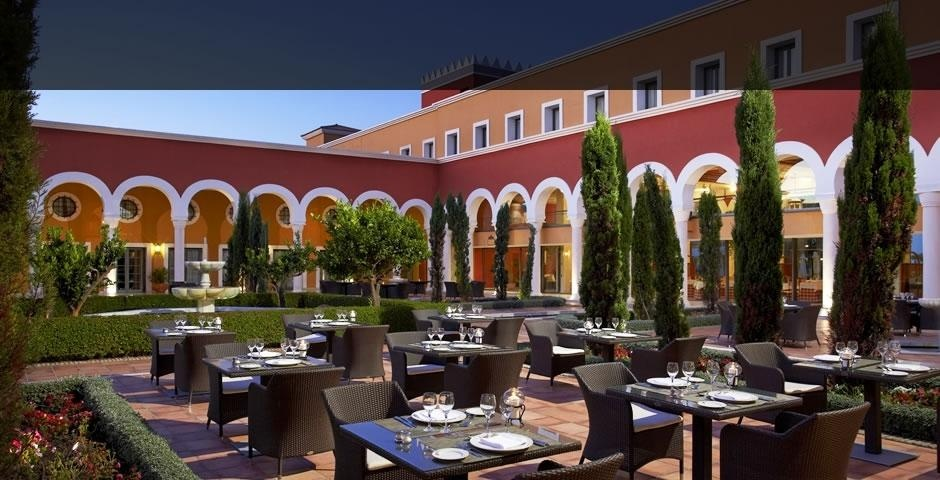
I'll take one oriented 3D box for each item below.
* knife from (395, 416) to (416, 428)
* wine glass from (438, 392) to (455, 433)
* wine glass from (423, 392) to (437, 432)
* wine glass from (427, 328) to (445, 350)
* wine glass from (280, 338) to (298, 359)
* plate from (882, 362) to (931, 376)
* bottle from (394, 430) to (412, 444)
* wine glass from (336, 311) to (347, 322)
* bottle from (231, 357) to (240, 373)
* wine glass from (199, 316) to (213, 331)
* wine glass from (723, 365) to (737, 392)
[{"bbox_3d":[-1.071,3.066,11.055,0.135,0.057,0.512,1,1,-29],"label":"knife"},{"bbox_3d":[-0.413,2.859,10.983,0.219,0.586,0.285,-1,-5,-6],"label":"wine glass"},{"bbox_3d":[-0.655,2.860,11.022,0.232,0.595,0.325,-2,-5,-4],"label":"wine glass"},{"bbox_3d":[-0.779,2.220,14.752,0.392,0.360,0.378,0,-9,-7],"label":"wine glass"},{"bbox_3d":[-3.780,2.258,13.751,0.381,0.534,0.354,2,0,14],"label":"wine glass"},{"bbox_3d":[8.474,2.484,12.792,1.129,0.192,0.496,1,-7,-24],"label":"plate"},{"bbox_3d":[-1.081,3.205,10.680,0.266,0.165,0.345,-1,-6,-5],"label":"bottle"},{"bbox_3d":[-3.508,2.044,17.601,0.361,0.334,0.354,0,-5,-1],"label":"wine glass"},{"bbox_3d":[-4.650,2.464,12.912,0.187,0.235,0.236,2,0,-5],"label":"bottle"},{"bbox_3d":[-6.766,2.135,16.778,0.279,0.431,0.273,0,-5,-6],"label":"wine glass"},{"bbox_3d":[4.759,2.464,11.947,0.208,0.413,0.131,-4,-6,18],"label":"wine glass"}]
